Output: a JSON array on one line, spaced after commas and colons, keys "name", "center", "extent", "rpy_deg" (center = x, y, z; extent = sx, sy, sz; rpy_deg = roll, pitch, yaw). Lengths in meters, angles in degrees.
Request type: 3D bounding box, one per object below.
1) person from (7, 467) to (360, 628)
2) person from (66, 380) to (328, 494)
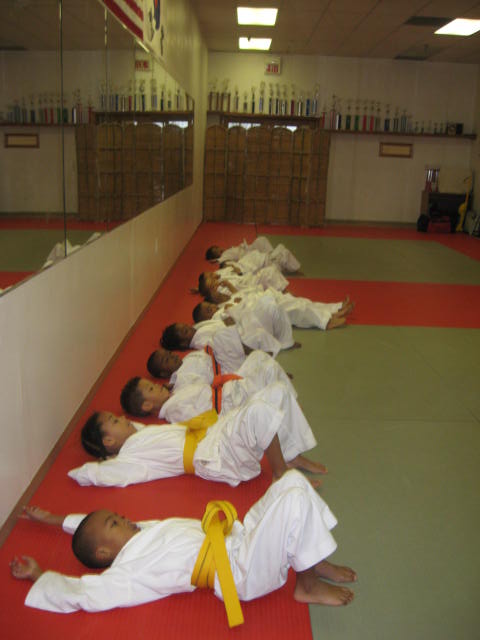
[{"name": "person", "center": [-0.140, 0.528, 1.342], "extent": [0.807, 0.282, 0.430], "rpy_deg": [1, 13, 5]}, {"name": "person", "center": [-0.182, 0.479, 2.060], "extent": [0.981, 0.409, 0.626], "rpy_deg": [1, 4, 6]}]
